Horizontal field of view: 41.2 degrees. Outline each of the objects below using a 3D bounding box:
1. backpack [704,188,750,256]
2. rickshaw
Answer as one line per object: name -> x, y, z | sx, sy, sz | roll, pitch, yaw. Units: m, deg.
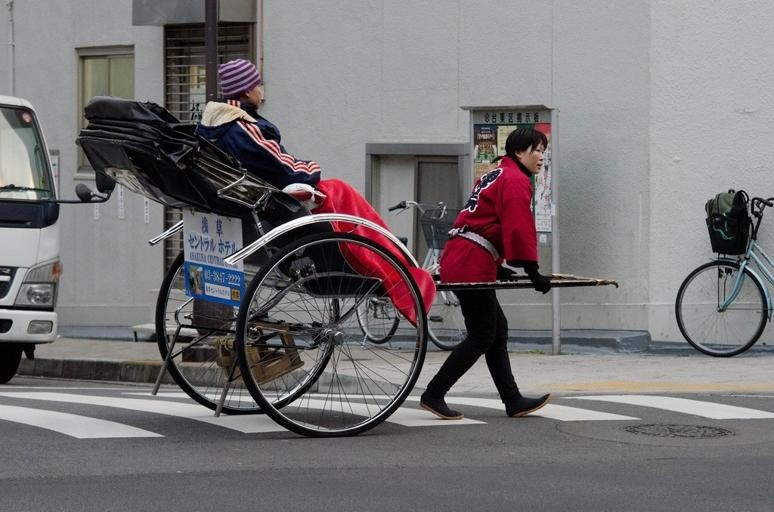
backpack -> 4.381, -0.417, 13.128 | 0.546, 0.828, 0.302 | 0, 5, 17
rickshaw -> -0.368, 0.187, 9.827 | 4.907, 2.536, 2.212 | 5, -2, -35
